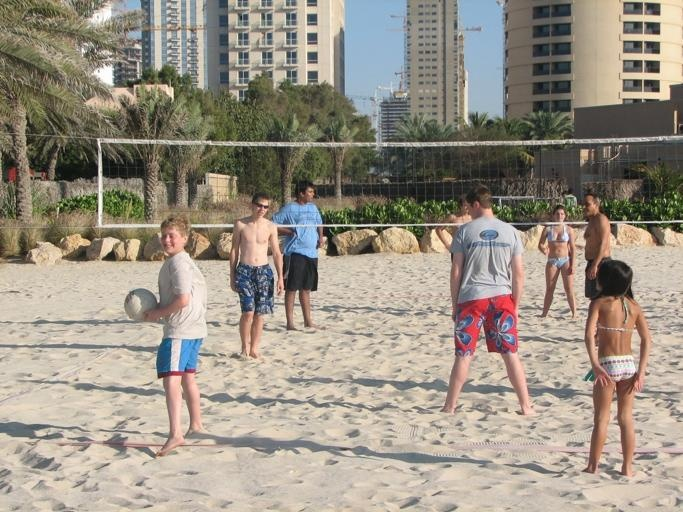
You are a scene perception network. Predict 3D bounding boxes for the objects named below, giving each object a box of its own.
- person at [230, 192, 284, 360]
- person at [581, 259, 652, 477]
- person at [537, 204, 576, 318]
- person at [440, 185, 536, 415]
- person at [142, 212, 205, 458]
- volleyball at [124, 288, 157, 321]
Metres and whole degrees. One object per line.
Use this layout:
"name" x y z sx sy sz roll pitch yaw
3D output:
"person" -1.131 0.235 13.509 0.620 2.113 0.674 2 14 6
"person" 2.886 1.170 10.738 0.642 2.158 0.596 5 14 16
"person" 3.205 0.101 15.025 0.508 1.636 0.735 -4 15 -21
"person" 1.716 0.518 11.879 0.972 2.559 0.682 2 14 6
"person" -1.814 0.843 11.197 0.532 2.430 0.770 7 15 23
"volleyball" -2.270 0.509 11.188 0.272 0.304 0.283 2 34 -26
